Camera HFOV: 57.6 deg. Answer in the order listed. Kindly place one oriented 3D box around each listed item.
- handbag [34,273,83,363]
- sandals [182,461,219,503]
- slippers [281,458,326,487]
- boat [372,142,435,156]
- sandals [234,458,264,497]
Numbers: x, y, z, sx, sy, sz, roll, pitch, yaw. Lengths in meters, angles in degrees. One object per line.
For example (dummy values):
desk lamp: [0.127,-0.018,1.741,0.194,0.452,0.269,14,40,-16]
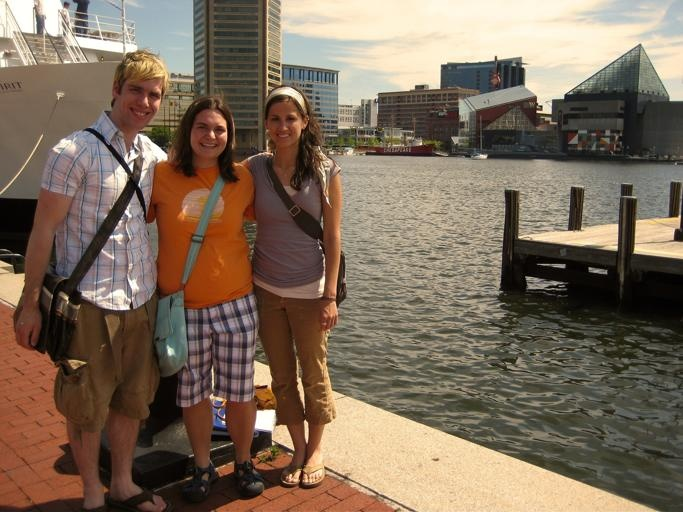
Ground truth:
handbag: [-1.527,0.337,3.357,0.165,0.400,0.451,23,-3,-31]
sandals: [-0.845,1.362,3.712,0.120,0.100,0.259,1,1,6]
slippers: [-0.231,1.363,3.857,0.167,0.054,0.219,1,3,2]
boat: [16.467,-28.568,165.041,9.133,3.116,20.767,-5,12,-31]
sandals: [-0.570,1.342,3.813,0.174,0.134,0.367,0,7,-21]
